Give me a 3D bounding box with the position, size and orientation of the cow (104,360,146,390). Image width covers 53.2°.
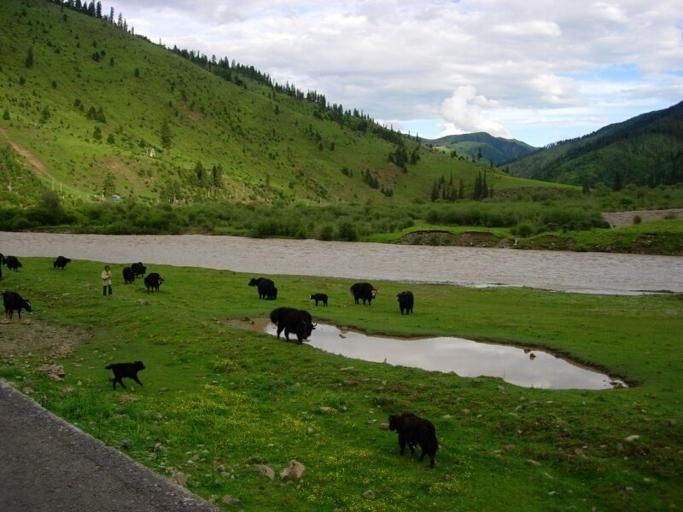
[{"bbox_3d":[-10.936,5.953,34.439,1.837,1.258,1.289,1,4,-17],"label":"cow"}]

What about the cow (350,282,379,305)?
[{"bbox_3d":[1.789,2.922,54.420,1.811,1.685,1.752,3,4,-2],"label":"cow"}]

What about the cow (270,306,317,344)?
[{"bbox_3d":[-3.105,4.329,42.486,2.837,2.028,1.688,6,5,42],"label":"cow"}]

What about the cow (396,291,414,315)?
[{"bbox_3d":[4.774,3.449,50.697,1.172,1.600,1.374,3,4,4],"label":"cow"}]

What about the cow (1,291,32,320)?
[{"bbox_3d":[-20.547,3.048,43.150,1.212,1.621,1.491,3,4,4],"label":"cow"}]

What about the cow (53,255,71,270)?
[{"bbox_3d":[-24.673,0.574,60.045,1.009,1.092,1.137,4,4,16],"label":"cow"}]
